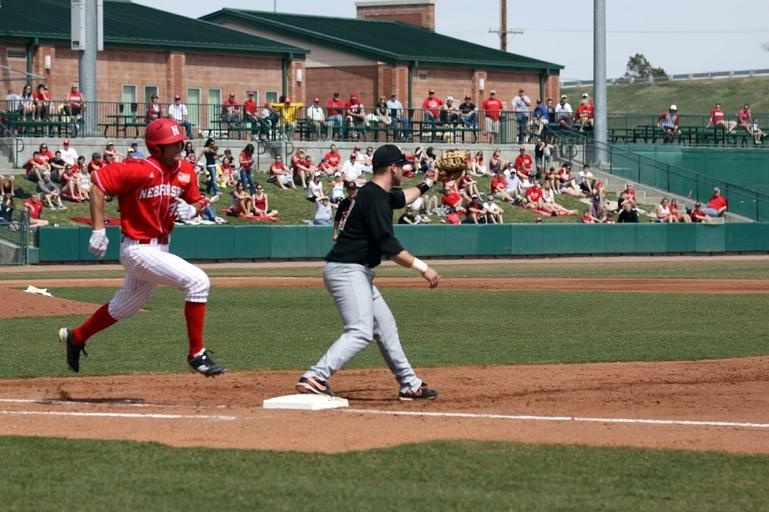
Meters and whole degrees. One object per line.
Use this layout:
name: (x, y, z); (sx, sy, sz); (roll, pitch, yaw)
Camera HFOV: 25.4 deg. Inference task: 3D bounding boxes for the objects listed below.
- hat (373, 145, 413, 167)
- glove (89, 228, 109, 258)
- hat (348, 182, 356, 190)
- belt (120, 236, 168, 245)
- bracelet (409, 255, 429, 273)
hat: (0.097, -2.009, 34.496); (0.553, 0.326, 0.403); (-13, 17, -28)
glove: (-5.807, -0.295, 34.687); (0.450, 0.525, 0.240); (4, 1, -27)
hat: (-0.849, -1.866, 45.128); (0.281, 0.187, 0.381); (5, 0, 3)
belt: (-4.838, -0.344, 34.763); (0.932, 0.198, 0.239); (1, 7, -9)
bracelet: (0.711, 0.174, 34.363); (0.356, 0.217, 0.157); (41, -16, -36)
